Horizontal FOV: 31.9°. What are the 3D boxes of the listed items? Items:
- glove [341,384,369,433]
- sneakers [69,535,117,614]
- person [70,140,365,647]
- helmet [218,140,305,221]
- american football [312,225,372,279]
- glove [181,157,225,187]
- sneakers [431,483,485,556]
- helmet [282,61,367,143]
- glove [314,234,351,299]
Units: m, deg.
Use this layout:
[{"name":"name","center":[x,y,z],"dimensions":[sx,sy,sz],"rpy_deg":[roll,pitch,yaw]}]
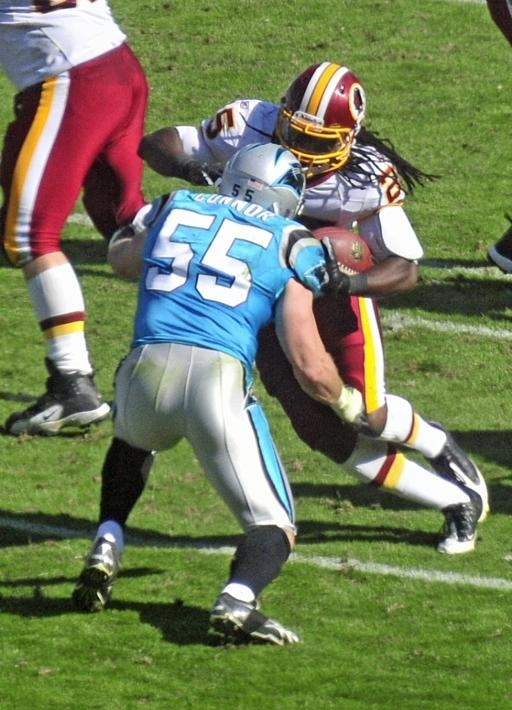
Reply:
[{"name":"glove","center":[0.336,0.181,3.125],"dimensions":[0.070,0.156,0.093],"rpy_deg":[-29,45,5]},{"name":"sneakers","center":[-0.490,0.684,2.813],"dimensions":[0.117,0.247,0.129],"rpy_deg":[25,19,11]},{"name":"person","center":[-0.093,0.155,2.897],"dimensions":[0.693,1.521,1.202],"rpy_deg":[13,27,-24]},{"name":"helmet","center":[0.046,-0.614,3.072],"dimensions":[0.266,0.231,0.282],"rpy_deg":[14,27,11]},{"name":"american football","center":[0.314,-0.371,3.305],"dimensions":[0.207,0.218,0.147],"rpy_deg":[-9,55,2]},{"name":"glove","center":[-0.234,-0.721,3.514],"dimensions":[0.186,0.098,0.074],"rpy_deg":[21,9,35]},{"name":"sneakers","center":[0.801,0.637,3.523],"dimensions":[0.123,0.216,0.339],"rpy_deg":[4,28,27]},{"name":"helmet","center":[0.264,-0.964,3.458],"dimensions":[0.277,0.248,0.309],"rpy_deg":[22,46,7]},{"name":"glove","center":[0.259,-0.288,2.998],"dimensions":[0.117,0.222,0.079],"rpy_deg":[-3,0,-31]}]
